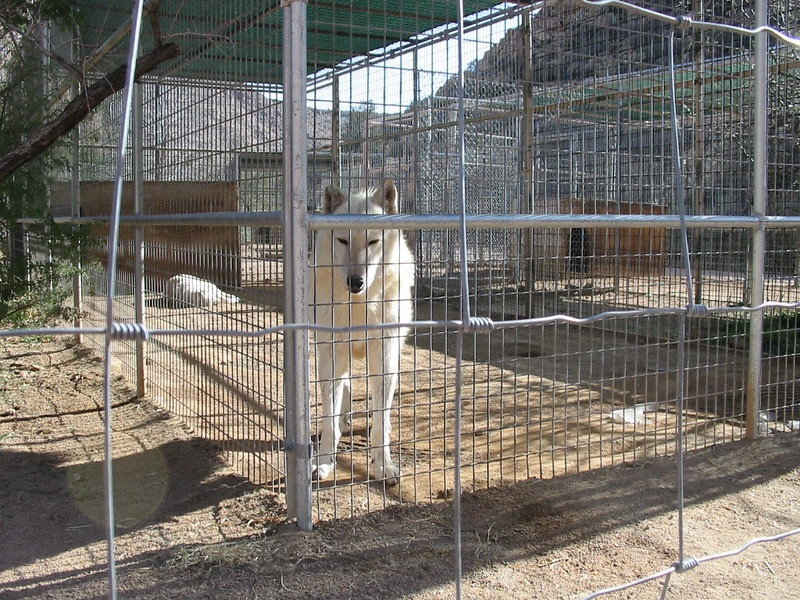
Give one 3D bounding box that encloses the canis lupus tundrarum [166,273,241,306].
[{"bbox_3d":[-1.775,-0.061,7.648,0.584,0.241,0.374,8,16,26],"label":"canis lupus tundrarum"}]
